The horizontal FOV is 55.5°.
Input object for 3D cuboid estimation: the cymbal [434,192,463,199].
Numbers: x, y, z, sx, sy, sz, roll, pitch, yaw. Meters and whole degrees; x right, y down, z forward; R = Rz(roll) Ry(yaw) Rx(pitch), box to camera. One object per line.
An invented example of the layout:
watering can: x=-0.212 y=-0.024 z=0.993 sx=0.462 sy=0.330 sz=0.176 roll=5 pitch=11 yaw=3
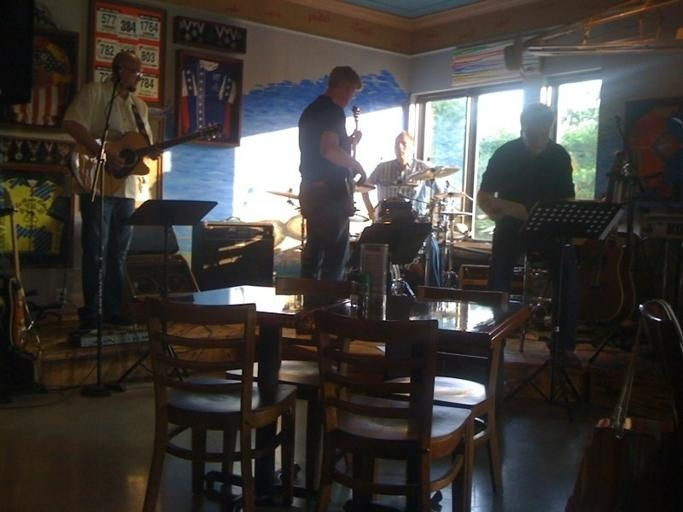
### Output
cymbal: x=1.242 y=-0.701 z=7.634 sx=0.295 sy=0.096 sz=0.292 roll=-3 pitch=8 yaw=-37

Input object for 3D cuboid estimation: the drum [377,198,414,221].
drum: x=0.414 y=-0.350 z=5.041 sx=0.236 sy=0.159 sz=0.217 roll=0 pitch=-1 yaw=0

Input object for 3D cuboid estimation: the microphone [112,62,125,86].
microphone: x=-1.656 y=-1.332 z=4.814 sx=0.066 sy=0.154 sz=0.319 roll=0 pitch=7 yaw=-19

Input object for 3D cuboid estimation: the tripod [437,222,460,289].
tripod: x=1.248 y=-0.037 z=7.455 sx=0.219 sy=0.740 sz=0.704 roll=3 pitch=6 yaw=9

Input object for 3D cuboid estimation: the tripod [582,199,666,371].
tripod: x=2.440 y=0.135 z=5.717 sx=0.541 sy=1.219 sz=1.397 roll=5 pitch=7 yaw=25

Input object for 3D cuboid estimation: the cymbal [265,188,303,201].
cymbal: x=-0.667 y=-0.685 z=7.310 sx=0.318 sy=0.073 sz=0.325 roll=16 pitch=-2 yaw=39

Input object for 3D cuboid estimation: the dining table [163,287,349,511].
dining table: x=-0.308 y=0.610 z=3.726 sx=0.989 sy=1.480 sz=1.041 roll=3 pitch=7 yaw=23

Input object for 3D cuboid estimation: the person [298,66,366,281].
person: x=-0.071 y=-0.606 z=4.853 sx=0.500 sy=1.603 sz=0.412 roll=2 pitch=6 yaw=-5
